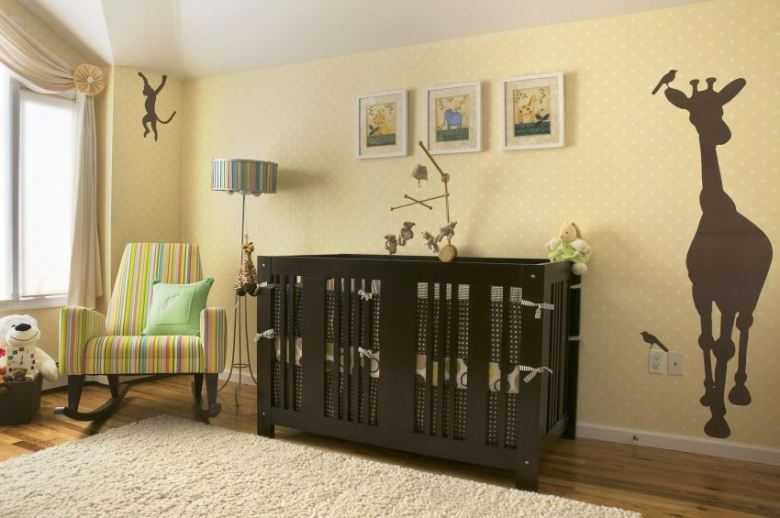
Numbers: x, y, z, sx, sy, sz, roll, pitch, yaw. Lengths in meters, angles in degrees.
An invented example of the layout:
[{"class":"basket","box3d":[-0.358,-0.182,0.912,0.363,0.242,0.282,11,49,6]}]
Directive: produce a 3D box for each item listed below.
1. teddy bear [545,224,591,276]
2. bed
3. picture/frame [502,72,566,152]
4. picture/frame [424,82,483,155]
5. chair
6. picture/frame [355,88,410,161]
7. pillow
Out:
[{"class":"teddy bear","box3d":[1.216,-0.082,4.481,0.209,0.354,0.364,-8,10,-33]},{"class":"bed","box3d":[0.230,0.665,4.730,2.090,1.260,1.090,1,0,28]},{"class":"picture/frame","box3d":[1.018,-1.028,4.586,0.595,0.664,0.050,0,2,19]},{"class":"picture/frame","box3d":[0.480,-1.019,4.780,0.561,0.624,0.048,1,1,21]},{"class":"chair","box3d":[-1.764,0.511,5.009,1.060,1.339,1.203,0,-5,-6]},{"class":"picture/frame","box3d":[-0.037,-1.022,4.990,0.583,0.647,0.048,1,3,22]},{"class":"pillow","box3d":[-1.603,0.358,4.943,0.510,0.438,0.255,-2,-1,21]}]
